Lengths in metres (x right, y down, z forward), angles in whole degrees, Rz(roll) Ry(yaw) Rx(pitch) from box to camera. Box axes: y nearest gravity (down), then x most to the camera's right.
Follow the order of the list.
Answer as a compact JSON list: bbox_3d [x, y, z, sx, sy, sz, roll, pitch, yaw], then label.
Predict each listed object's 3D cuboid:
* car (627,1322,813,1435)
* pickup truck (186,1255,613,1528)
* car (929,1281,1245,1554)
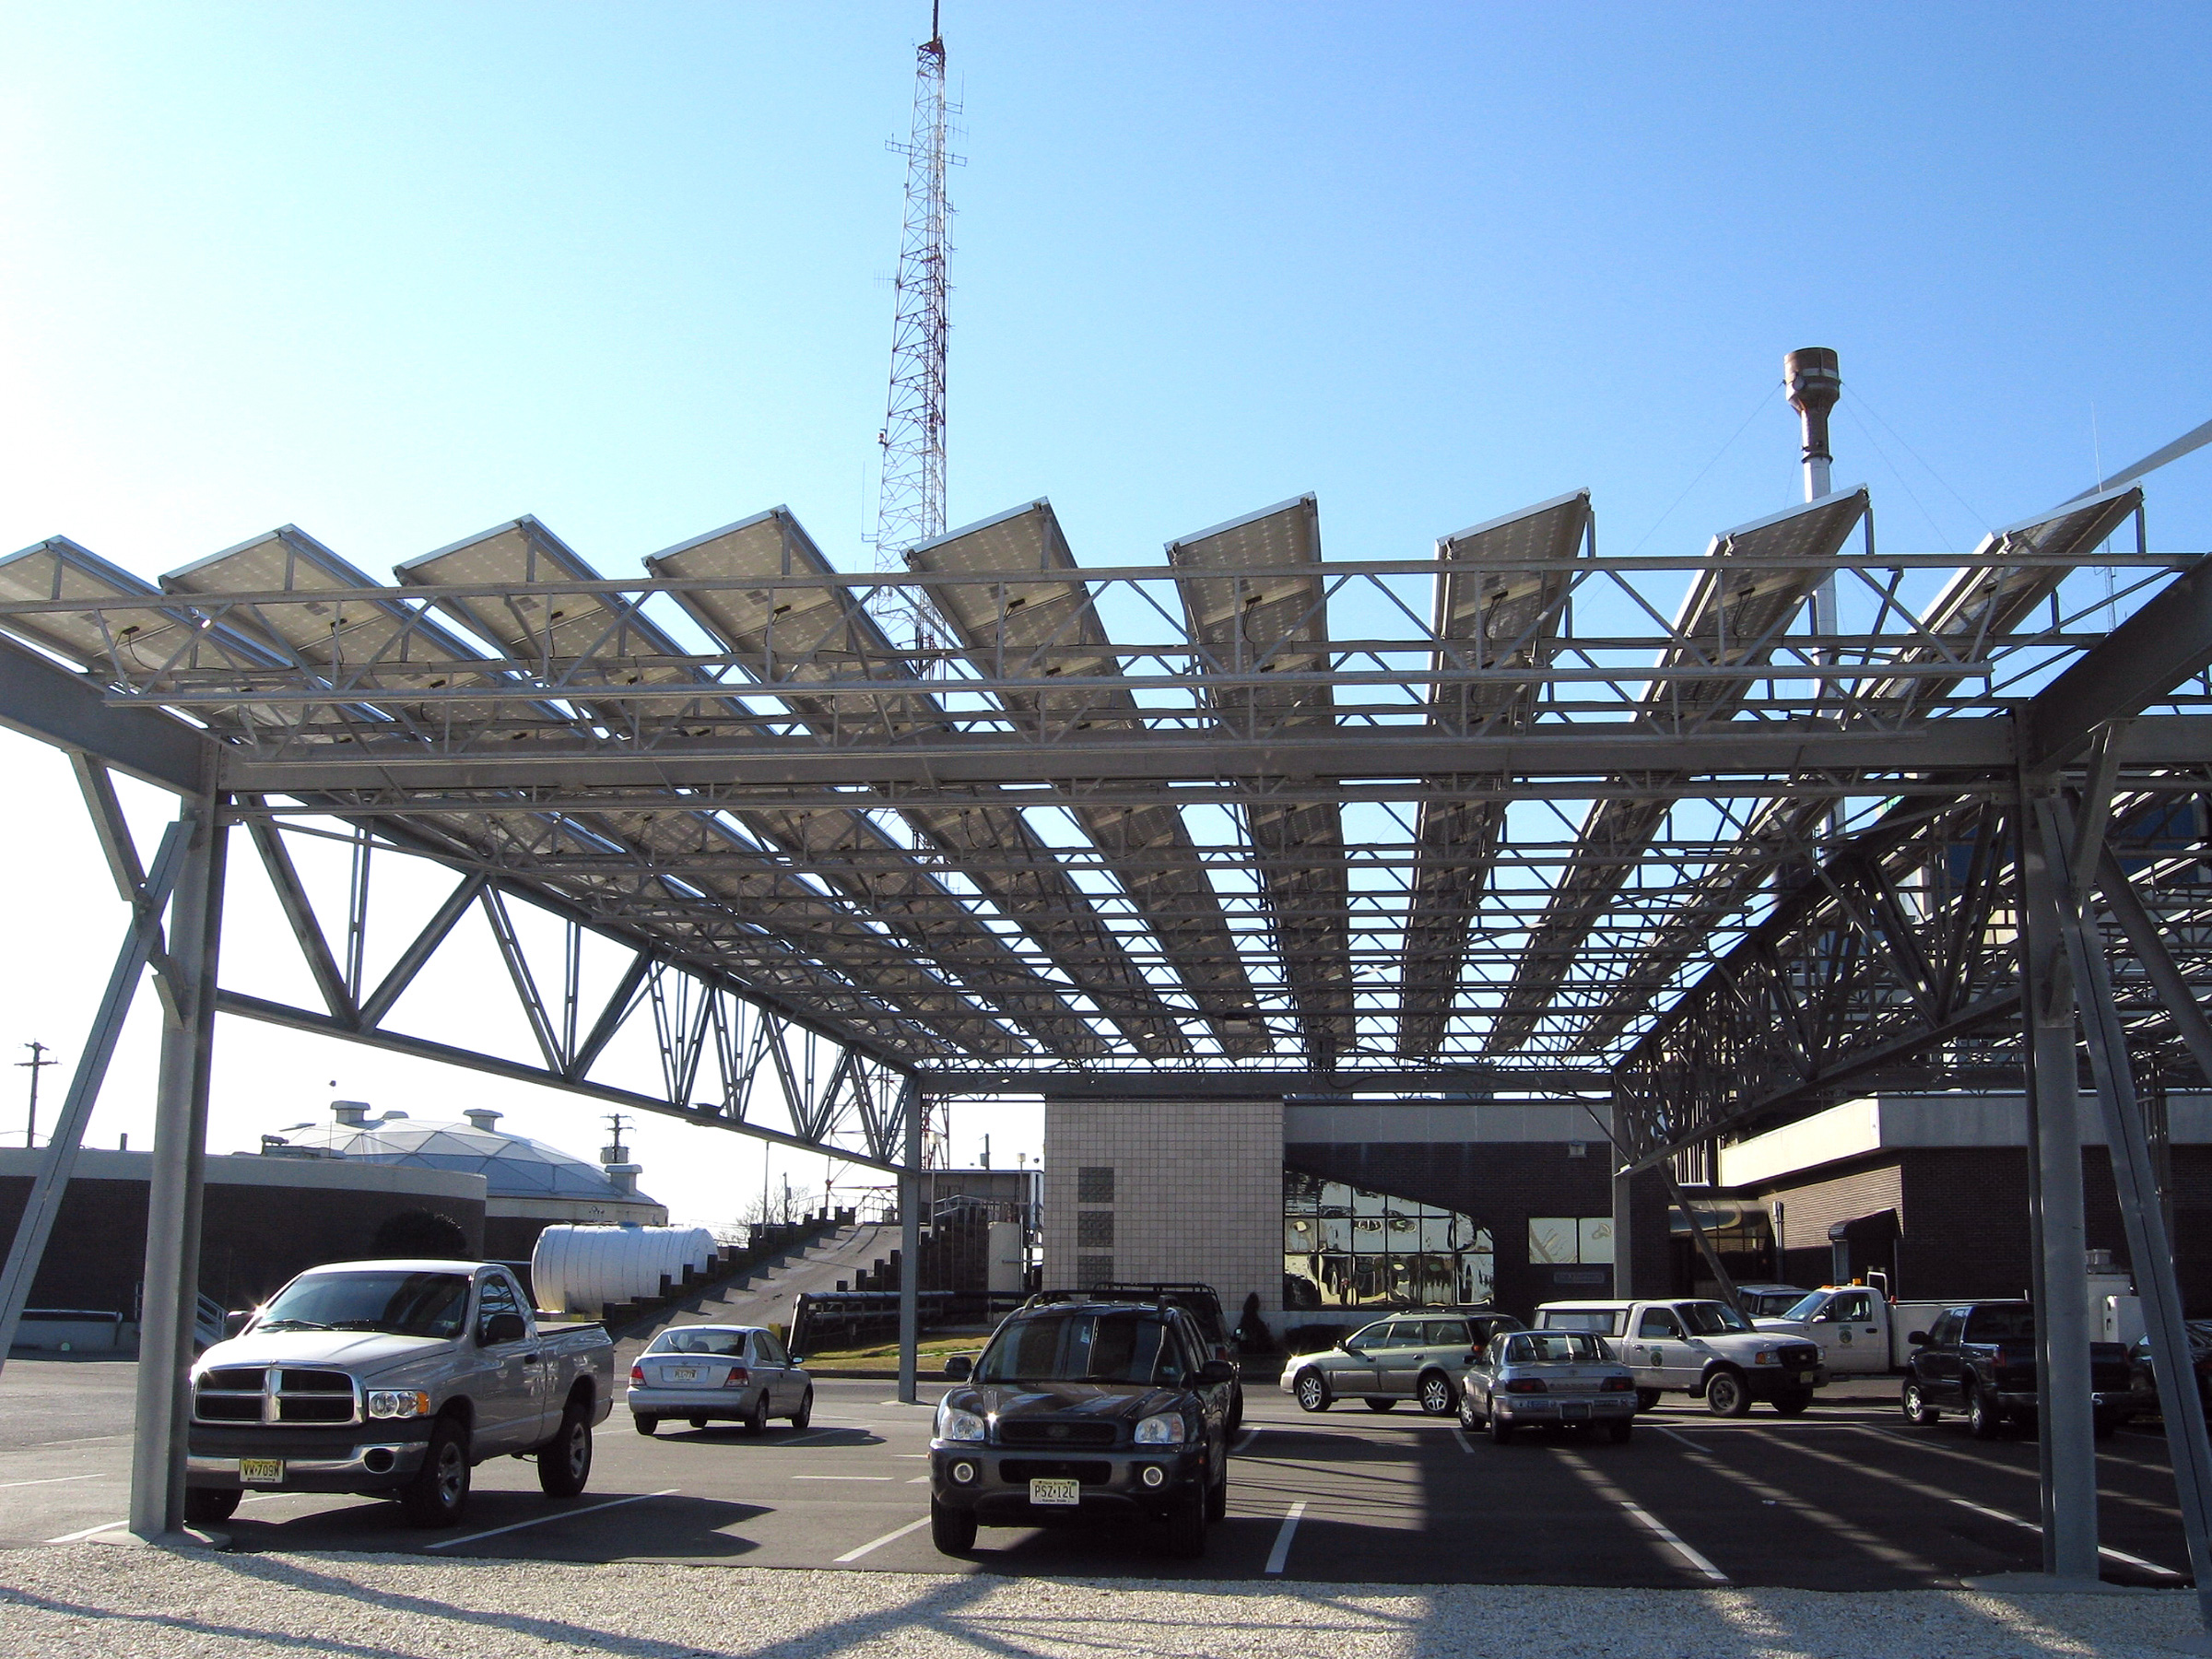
[{"bbox_3d":[-5.455,8.007,31.157,1.368,0.876,2.970,-1,-11,7],"label":"car"},{"bbox_3d":[-7.123,5.743,21.417,3.035,2.631,4.904,0,-21,2],"label":"pickup truck"},{"bbox_3d":[-0.267,5.409,19.404,2.504,2.386,2.169,1,-21,-1],"label":"car"}]
